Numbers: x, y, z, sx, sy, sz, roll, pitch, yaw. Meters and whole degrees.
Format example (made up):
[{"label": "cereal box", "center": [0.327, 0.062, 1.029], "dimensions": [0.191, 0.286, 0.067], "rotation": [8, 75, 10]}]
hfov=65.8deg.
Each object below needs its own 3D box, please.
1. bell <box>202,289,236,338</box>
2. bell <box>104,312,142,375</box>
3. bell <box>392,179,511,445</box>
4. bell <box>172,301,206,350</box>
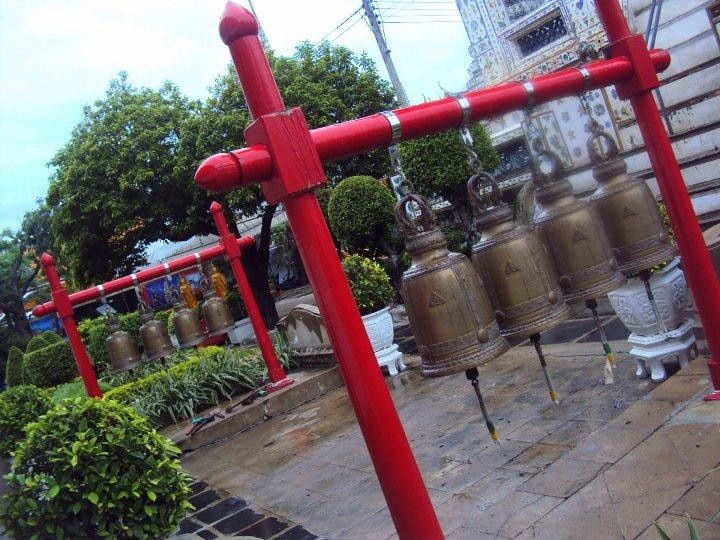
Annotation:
[{"label": "bell", "center": [-2.000, 0.577, 7.700], "dimensions": [0.379, 0.655, 0.330], "rotation": [-21, 6, -21]}, {"label": "bell", "center": [-2.969, 0.891, 6.837], "dimensions": [0.333, 0.793, 0.384], "rotation": [-21, 6, -27]}, {"label": "bell", "center": [0.452, 0.052, 3.118], "dimensions": [0.495, 1.144, 0.266], "rotation": [-17, 5, 13]}, {"label": "bell", "center": [-2.337, 0.704, 7.412], "dimensions": [0.397, 0.579, 0.436], "rotation": [-13, 11, -7]}]
